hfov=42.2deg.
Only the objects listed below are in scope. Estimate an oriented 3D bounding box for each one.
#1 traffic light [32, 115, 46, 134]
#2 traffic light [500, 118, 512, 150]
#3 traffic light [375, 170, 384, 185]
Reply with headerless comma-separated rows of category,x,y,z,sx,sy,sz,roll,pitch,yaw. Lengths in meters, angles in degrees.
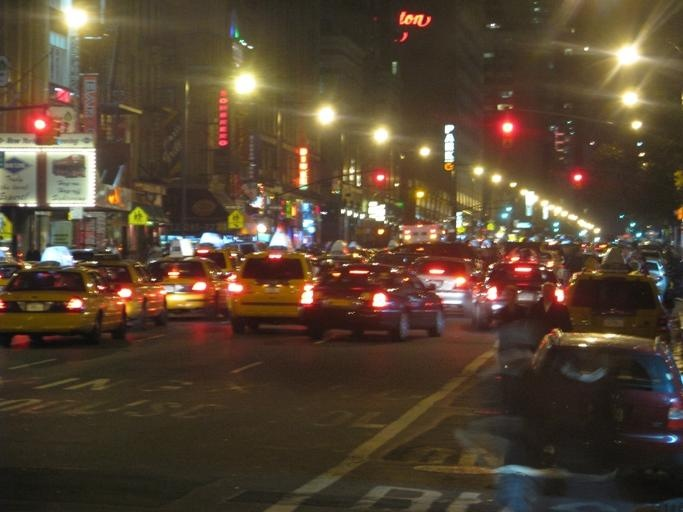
traffic light,-9.777,-4.312,28.908,0.470,0.634,0.791,2,-4,-17
traffic light,5.131,-3.796,27.271,0.403,0.739,0.665,0,-4,10
traffic light,2.536,-5.100,56.639,0.890,0.891,0.990,1,-1,0
